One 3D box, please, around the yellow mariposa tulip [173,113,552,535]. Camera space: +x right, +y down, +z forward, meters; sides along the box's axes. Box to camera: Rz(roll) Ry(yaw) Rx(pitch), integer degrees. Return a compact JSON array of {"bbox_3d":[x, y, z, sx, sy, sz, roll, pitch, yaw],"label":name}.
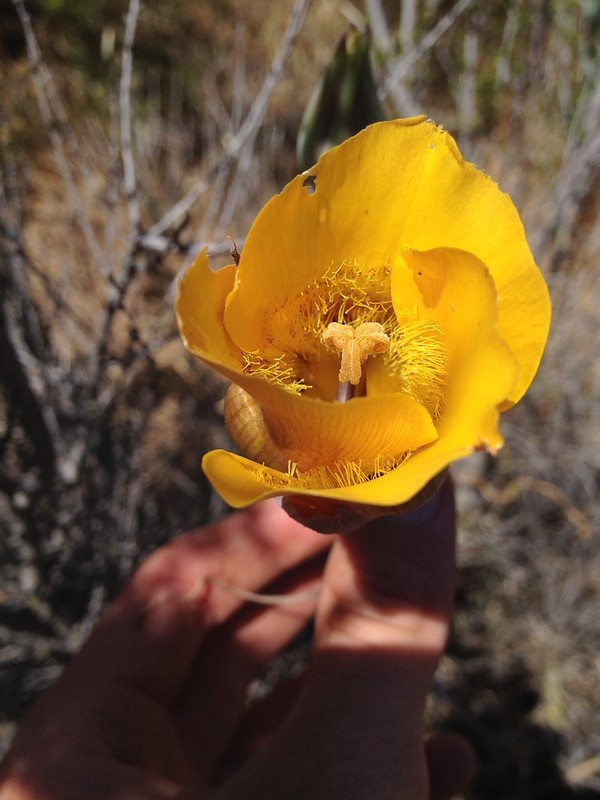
[{"bbox_3d":[0.057,-0.057,0.631,0.291,0.272,0.140,15,45,20],"label":"yellow mariposa tulip"}]
